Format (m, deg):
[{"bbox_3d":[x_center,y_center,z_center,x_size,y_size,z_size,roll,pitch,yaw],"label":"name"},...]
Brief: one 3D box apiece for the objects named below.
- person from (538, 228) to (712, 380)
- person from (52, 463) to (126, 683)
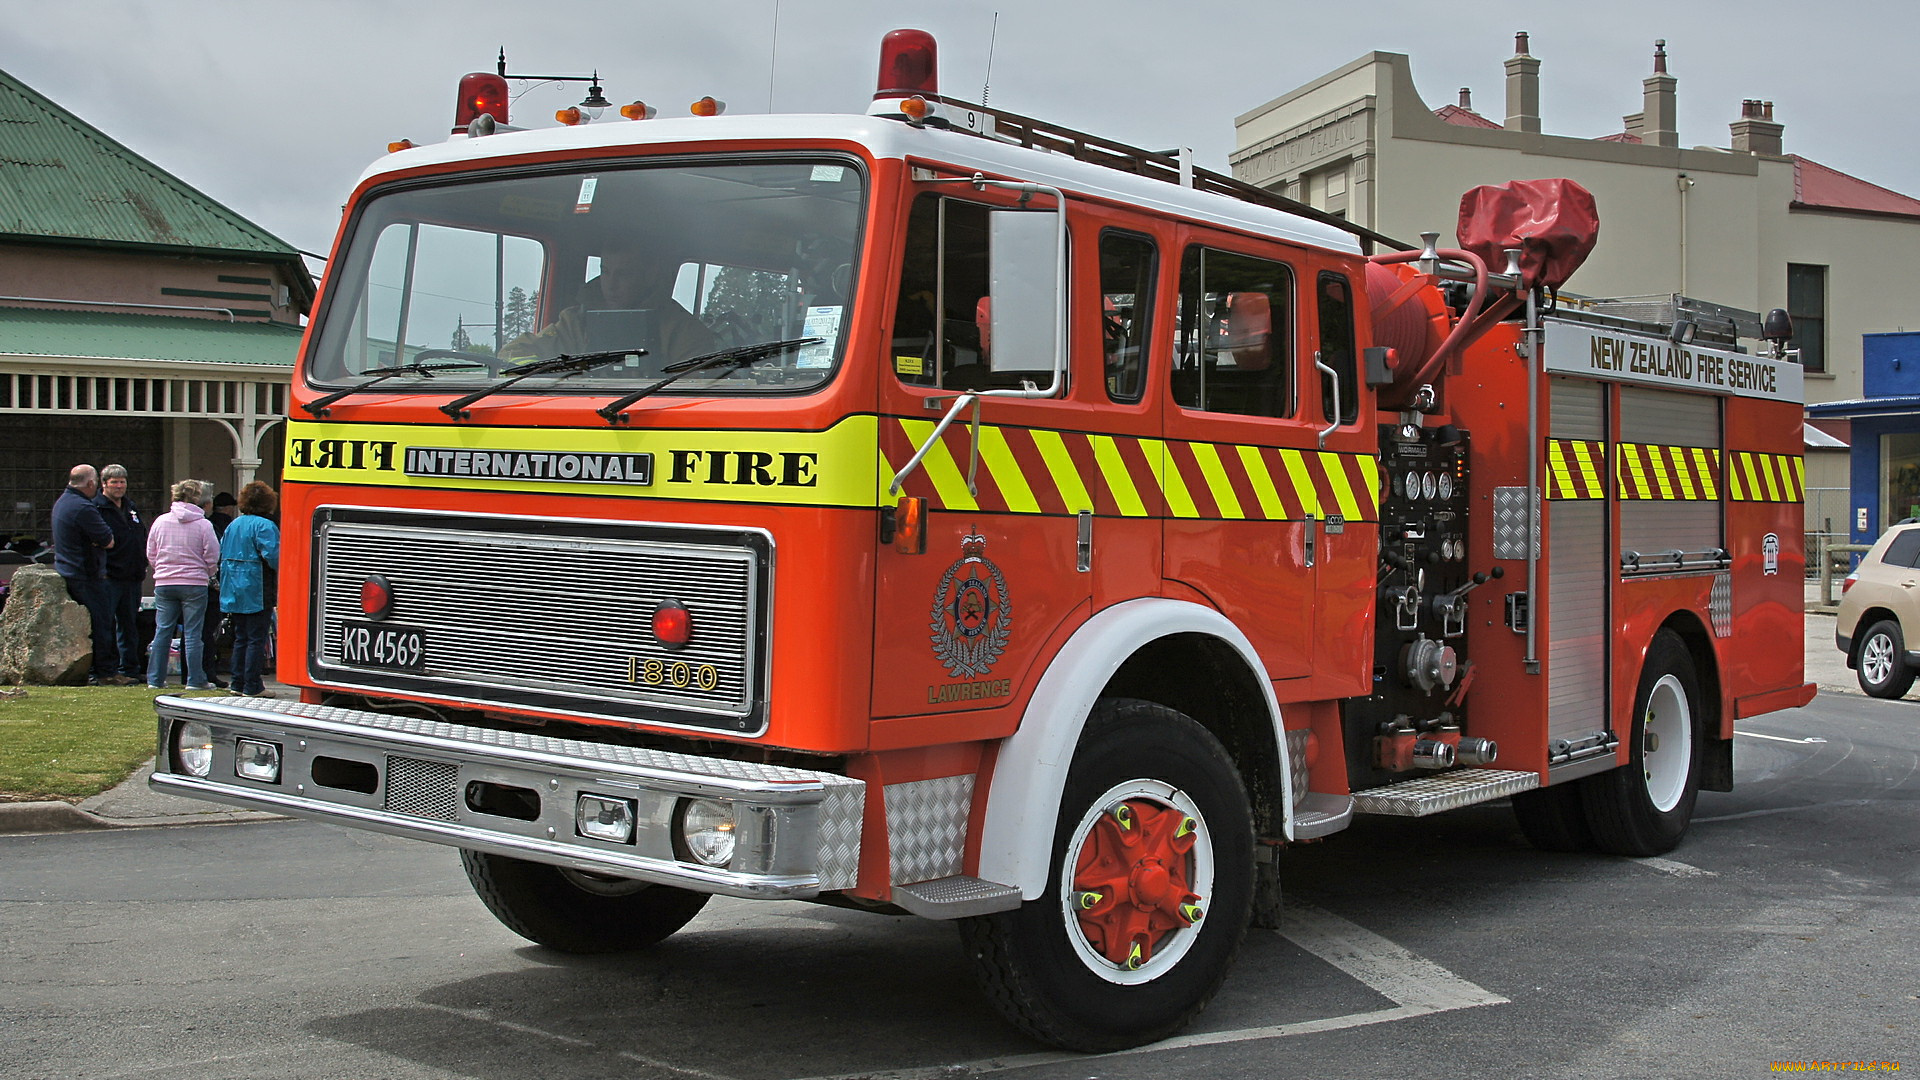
[{"bbox_3d":[-1.672,-1.165,7.192,0.980,0.626,0.226,5,7,32],"label":"person"},{"bbox_3d":[-9.925,0.359,16.415,0.557,2.391,0.529,-3,7,-31],"label":"person"}]
